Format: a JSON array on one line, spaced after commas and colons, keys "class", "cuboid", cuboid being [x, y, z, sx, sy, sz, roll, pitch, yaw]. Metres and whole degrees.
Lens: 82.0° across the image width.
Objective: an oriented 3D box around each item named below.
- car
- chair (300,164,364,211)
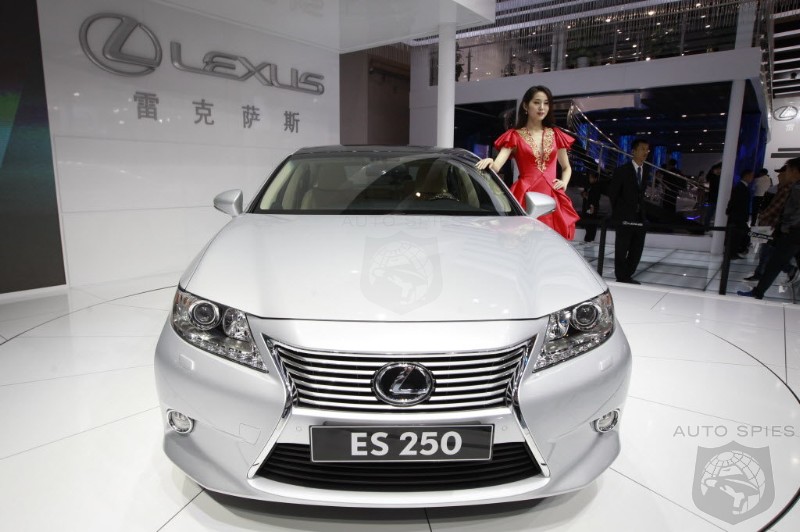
[{"class": "car", "cuboid": [-0.082, 0.145, 2.480, 2.088, 1.569, 1.808, 0, 13, -4]}, {"class": "chair", "cuboid": [-0.418, -0.475, 2.787, 0.279, 0.352, 0.403, 3, 6, -2]}]
